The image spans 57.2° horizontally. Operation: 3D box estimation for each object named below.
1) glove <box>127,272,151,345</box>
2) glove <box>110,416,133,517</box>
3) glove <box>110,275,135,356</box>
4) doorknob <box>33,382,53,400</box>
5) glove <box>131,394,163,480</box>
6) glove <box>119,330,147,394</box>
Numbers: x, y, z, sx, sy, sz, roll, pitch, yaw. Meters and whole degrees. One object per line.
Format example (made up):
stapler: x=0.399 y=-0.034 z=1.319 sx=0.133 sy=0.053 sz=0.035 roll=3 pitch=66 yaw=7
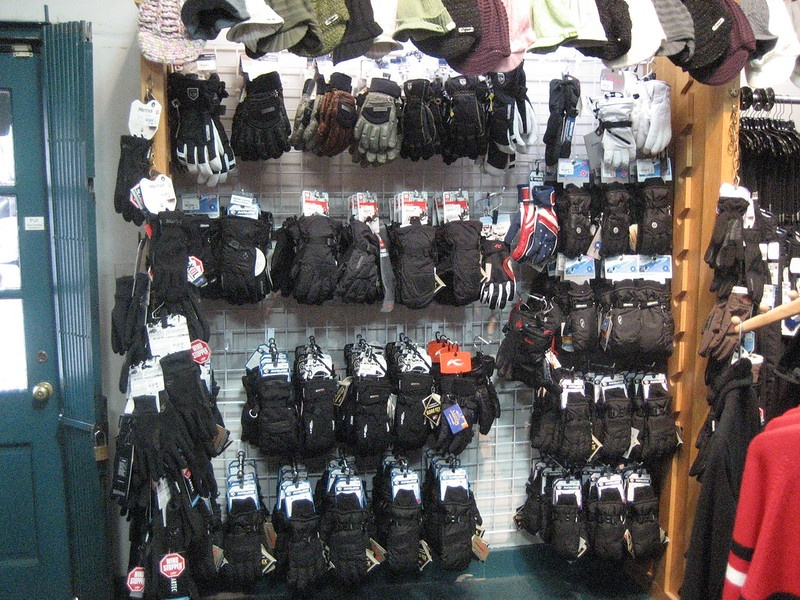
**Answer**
glove: x=-1.327 y=0.040 z=3.705 sx=0.080 sy=0.380 sz=0.177 roll=9 pitch=-11 yaw=-38
glove: x=-1.349 y=0.825 z=3.570 sx=0.086 sy=0.403 sz=0.281 roll=1 pitch=2 yaw=-18
glove: x=-1.485 y=0.084 z=3.864 sx=0.091 sy=0.342 sz=0.321 roll=3 pitch=8 yaw=-5
doorknob: x=-1.928 y=0.490 z=3.931 sx=0.075 sy=0.085 sz=0.043 roll=-8 pitch=1 yaw=-6
glove: x=-1.217 y=0.660 z=3.543 sx=0.154 sy=0.069 sz=0.517 roll=-2 pitch=35 yaw=-23
glove: x=-1.300 y=0.294 z=3.602 sx=0.075 sy=0.296 sz=0.161 roll=9 pitch=3 yaw=11
